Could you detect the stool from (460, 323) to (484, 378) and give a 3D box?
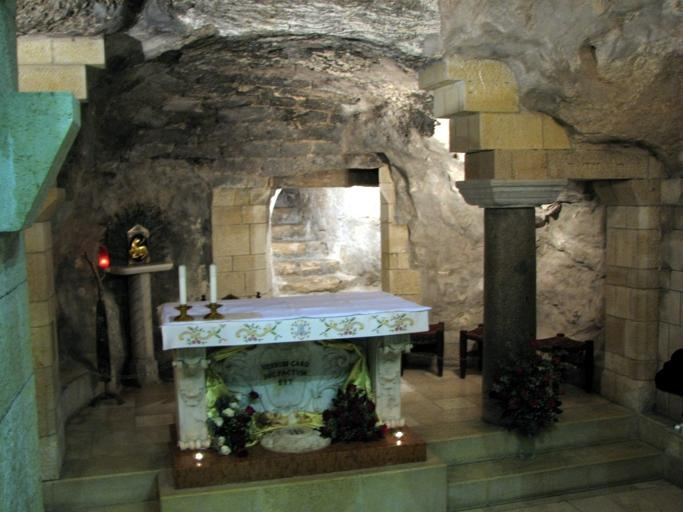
[{"bbox_3d":[1.756,1.263,9.642,0.303,0.685,0.744,1,13,8],"label":"stool"}]

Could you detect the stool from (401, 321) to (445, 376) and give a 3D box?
[{"bbox_3d":[1.125,1.250,9.754,0.596,0.703,0.704,1,13,7],"label":"stool"}]
